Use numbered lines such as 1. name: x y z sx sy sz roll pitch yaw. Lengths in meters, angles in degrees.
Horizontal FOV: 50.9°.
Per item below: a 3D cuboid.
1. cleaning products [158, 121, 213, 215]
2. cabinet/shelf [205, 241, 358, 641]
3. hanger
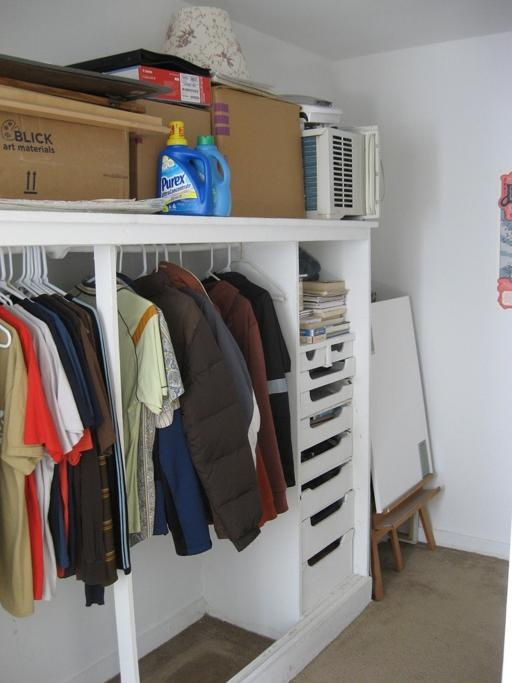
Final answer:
1. cleaning products: -0.181 -0.417 1.332 0.135 0.270 0.069 -4 -12 9
2. cabinet/shelf: 0.105 0.393 2.191 0.443 1.515 0.569 1 4 33
3. hanger: -0.440 -0.192 1.625 0.625 0.401 0.158 2 10 -20
